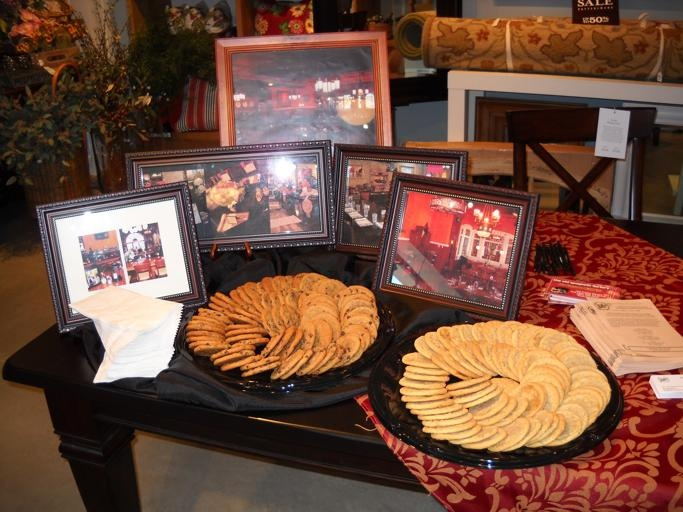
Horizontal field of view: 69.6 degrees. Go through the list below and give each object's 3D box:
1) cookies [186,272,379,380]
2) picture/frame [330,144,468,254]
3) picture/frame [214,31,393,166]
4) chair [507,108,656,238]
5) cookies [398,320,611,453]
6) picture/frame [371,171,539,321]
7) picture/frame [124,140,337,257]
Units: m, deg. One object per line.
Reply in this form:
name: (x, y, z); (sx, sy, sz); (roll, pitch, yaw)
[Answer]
cookies: (-0.113, 0.168, 1.208); (0.311, 0.036, 0.288); (9, 24, 24)
picture/frame: (0.160, -0.187, 1.640); (0.573, 0.398, 0.035); (-6, 39, -30)
picture/frame: (-0.139, -0.545, 1.701); (0.623, 0.360, 0.045); (-2, 8, 3)
chair: (1.065, -0.284, 2.268); (0.622, 0.765, 0.600); (-1, 19, 12)
cookies: (0.322, 0.275, 1.061); (0.288, 0.045, 0.281); (-7, 25, -1)
picture/frame: (0.313, -0.013, 1.354); (0.455, 0.316, 0.034); (15, -1, 18)
picture/frame: (-0.313, -0.177, 1.590); (0.720, 0.347, 0.025); (-12, 15, -39)
